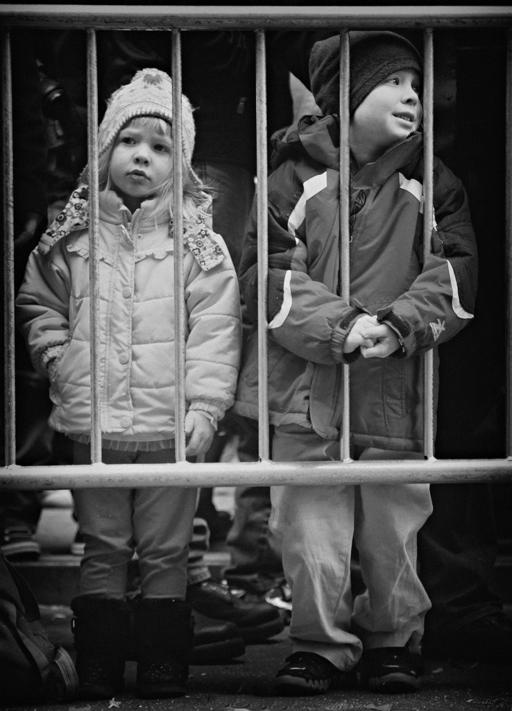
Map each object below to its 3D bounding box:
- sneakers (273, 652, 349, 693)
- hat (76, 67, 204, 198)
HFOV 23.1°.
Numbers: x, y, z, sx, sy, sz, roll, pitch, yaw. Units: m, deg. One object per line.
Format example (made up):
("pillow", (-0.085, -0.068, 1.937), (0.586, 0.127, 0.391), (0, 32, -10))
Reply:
("sneakers", (0.131, 0.788, 3.123), (0.193, 0.065, 0.066), (-9, 38, -13))
("hat", (-0.311, -0.643, 3.666), (0.349, 0.322, 0.355), (4, -2, -11))
